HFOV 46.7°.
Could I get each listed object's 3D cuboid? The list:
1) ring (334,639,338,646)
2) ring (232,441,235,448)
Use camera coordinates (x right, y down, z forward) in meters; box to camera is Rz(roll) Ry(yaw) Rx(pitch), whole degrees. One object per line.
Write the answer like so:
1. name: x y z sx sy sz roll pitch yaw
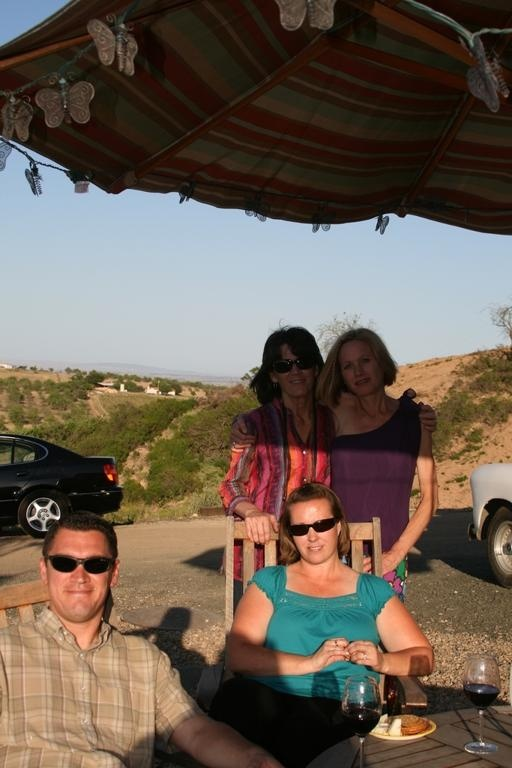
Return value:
1. ring: 0.288 0.918 2.125 0.015 0.013 0.004 -4 -10 26
2. ring: -0.113 0.297 2.975 0.022 0.028 0.009 7 18 8
